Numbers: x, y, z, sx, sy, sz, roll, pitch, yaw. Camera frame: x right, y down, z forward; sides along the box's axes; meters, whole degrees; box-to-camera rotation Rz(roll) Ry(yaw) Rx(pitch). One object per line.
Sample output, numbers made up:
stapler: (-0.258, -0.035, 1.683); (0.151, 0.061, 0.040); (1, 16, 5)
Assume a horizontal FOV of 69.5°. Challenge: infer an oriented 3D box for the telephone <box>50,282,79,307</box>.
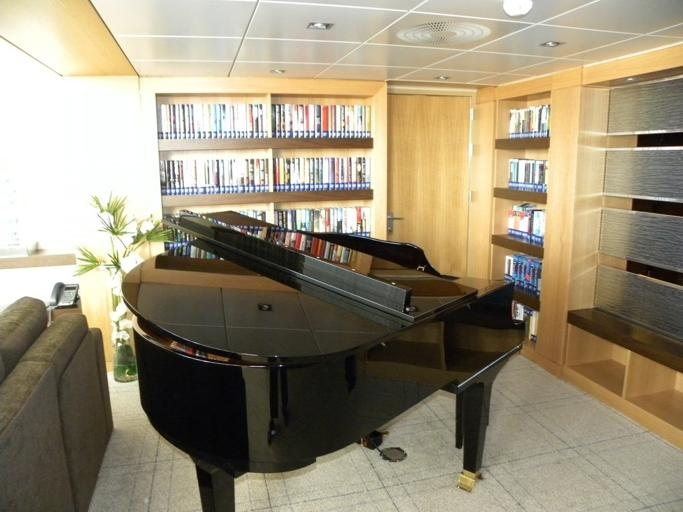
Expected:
telephone: (-2.836, 0.388, 5.032); (0.307, 0.229, 0.129); (5, -3, -31)
